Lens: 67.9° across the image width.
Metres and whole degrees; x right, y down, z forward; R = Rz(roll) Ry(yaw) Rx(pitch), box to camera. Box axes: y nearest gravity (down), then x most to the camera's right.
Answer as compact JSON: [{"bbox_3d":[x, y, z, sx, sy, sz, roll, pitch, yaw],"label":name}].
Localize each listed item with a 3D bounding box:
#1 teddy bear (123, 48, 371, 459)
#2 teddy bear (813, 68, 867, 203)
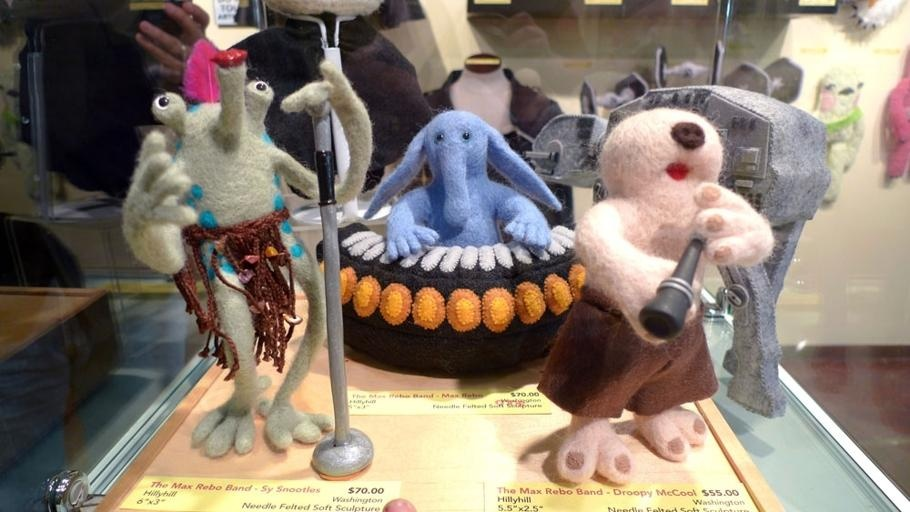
[{"bbox_3d":[-0.515,-0.013,1.806,0.609,1.076,0.370,-2,19,-1],"label":"teddy bear"},{"bbox_3d":[1.284,-0.410,2.317,0.223,0.452,0.142,2,31,15],"label":"teddy bear"}]
